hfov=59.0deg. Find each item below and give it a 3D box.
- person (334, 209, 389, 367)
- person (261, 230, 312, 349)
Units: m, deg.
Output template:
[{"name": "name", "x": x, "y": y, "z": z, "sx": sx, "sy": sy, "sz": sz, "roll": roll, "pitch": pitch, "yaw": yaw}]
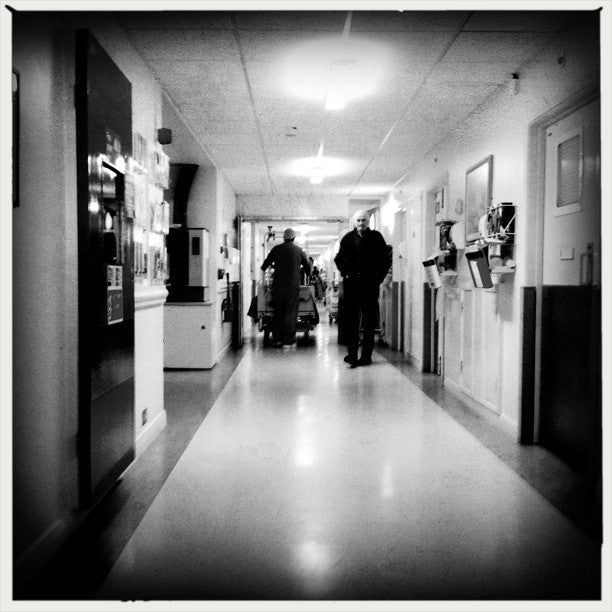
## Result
[{"name": "person", "x": 0.684, "y": -0.185, "z": 6.691, "sx": 0.663, "sy": 1.947, "sz": 0.624, "roll": 0, "pitch": 2, "yaw": -6}, {"name": "person", "x": -0.322, "y": -0.169, "z": 8.765, "sx": 0.674, "sy": 1.697, "sz": 0.459, "roll": 0, "pitch": 2, "yaw": -2}]
